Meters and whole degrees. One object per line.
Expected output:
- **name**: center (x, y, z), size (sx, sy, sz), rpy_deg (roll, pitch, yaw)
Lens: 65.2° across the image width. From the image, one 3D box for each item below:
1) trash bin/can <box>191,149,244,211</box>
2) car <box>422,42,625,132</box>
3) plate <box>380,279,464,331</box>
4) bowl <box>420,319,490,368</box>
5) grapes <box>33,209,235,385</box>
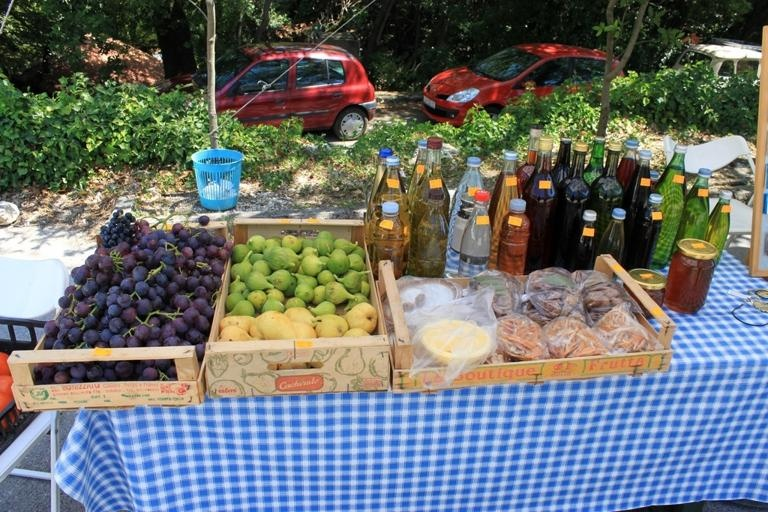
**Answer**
- **trash bin/can**: center (-1.798, -0.833, 6.568), size (0.516, 0.662, 0.378), rpy_deg (-6, 22, -15)
- **car**: center (2.084, -2.907, 9.495), size (2.687, 0.880, 1.428), rpy_deg (-13, 35, -18)
- **plate**: center (0.201, 0.193, 2.930), size (0.259, 0.089, 0.277), rpy_deg (-19, 26, -23)
- **bowl**: center (0.328, 0.391, 2.724), size (0.334, 0.132, 0.207), rpy_deg (2, 21, 6)
- **grapes**: center (-1.180, 0.149, 2.871), size (0.752, 0.577, 0.805), rpy_deg (-1, 21, -2)
